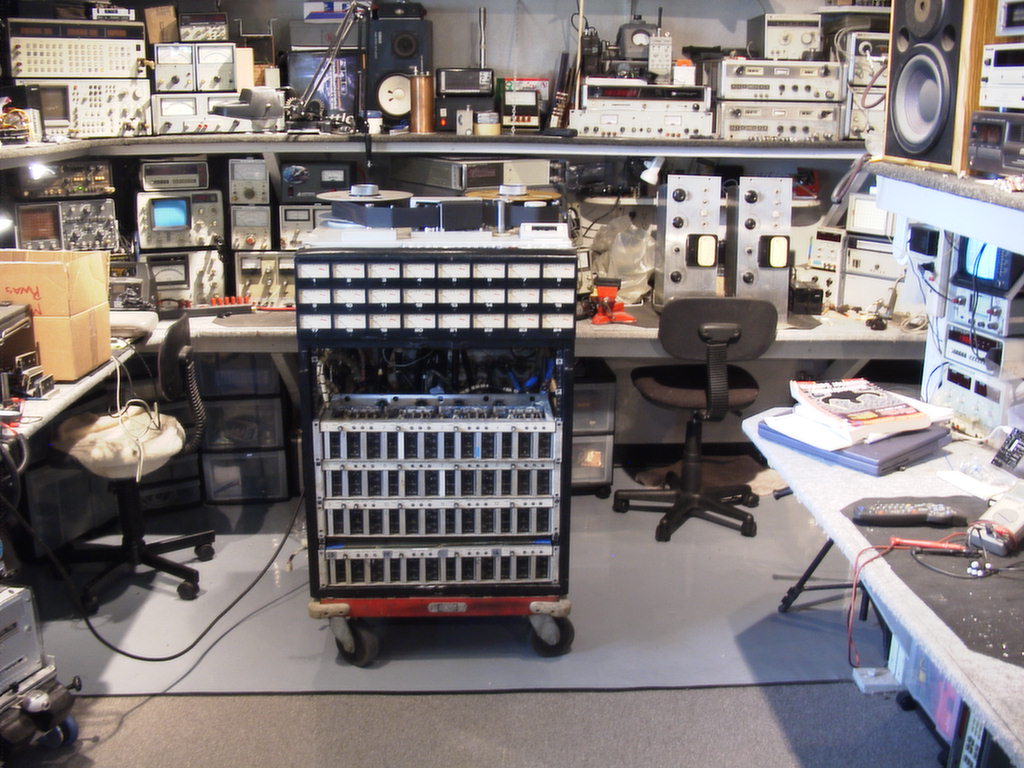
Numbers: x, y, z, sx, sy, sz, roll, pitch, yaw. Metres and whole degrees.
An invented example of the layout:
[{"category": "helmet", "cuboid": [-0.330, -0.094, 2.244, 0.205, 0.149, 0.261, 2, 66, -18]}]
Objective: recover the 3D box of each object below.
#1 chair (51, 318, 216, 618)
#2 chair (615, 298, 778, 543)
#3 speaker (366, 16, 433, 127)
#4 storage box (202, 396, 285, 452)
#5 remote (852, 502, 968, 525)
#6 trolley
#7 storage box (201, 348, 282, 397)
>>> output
[{"category": "chair", "cuboid": [-1.565, 0.298, 3.821, 0.606, 1.111, 0.681, -8, 16, -38]}, {"category": "chair", "cuboid": [0.894, 0.105, 4.320, 0.697, 1.108, 0.767, -2, 10, -14]}, {"category": "speaker", "cuboid": [-0.545, -1.560, 4.431, 0.331, 0.566, 0.150, -12, 21, -27]}, {"category": "storage box", "cuboid": [-1.298, 0.196, 4.447, 0.423, 0.286, 0.237, 0, 5, -5]}, {"category": "remote", "cuboid": [1.087, 0.357, 2.494, 0.190, 0.049, 0.046, -1, 10, 8]}, {"category": "trolley", "cuboid": [-0.271, 0.120, 3.668, 1.181, 1.655, 1.147, -8, 26, -19]}, {"category": "storage box", "cuboid": [-1.318, -0.051, 4.414, 0.246, 0.165, 0.256, -1, 14, -7]}]
